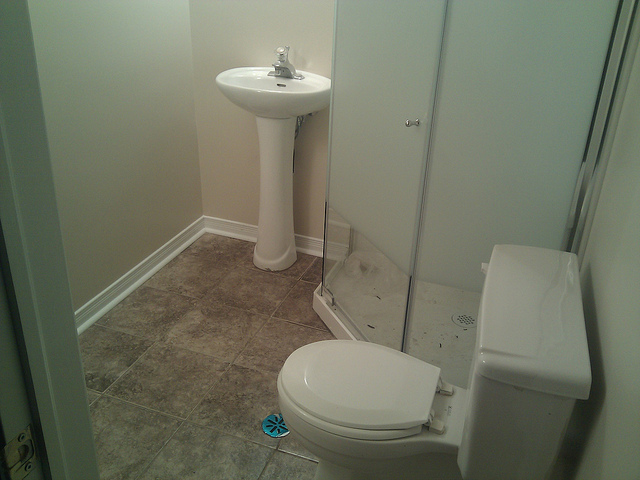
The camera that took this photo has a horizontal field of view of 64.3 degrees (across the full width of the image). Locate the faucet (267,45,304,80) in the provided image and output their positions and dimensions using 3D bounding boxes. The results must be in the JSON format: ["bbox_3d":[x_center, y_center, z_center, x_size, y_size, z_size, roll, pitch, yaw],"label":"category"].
[{"bbox_3d":[-0.162,-0.958,2.677,0.192,0.171,0.123,9,51,5],"label":"faucet"}]

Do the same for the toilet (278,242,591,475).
[{"bbox_3d":[0.310,0.298,1.705,0.794,0.942,0.665,9,34,14],"label":"toilet"}]

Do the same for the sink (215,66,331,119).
[{"bbox_3d":[-0.241,-0.758,2.675,0.587,0.197,0.501,4,31,0],"label":"sink"}]
